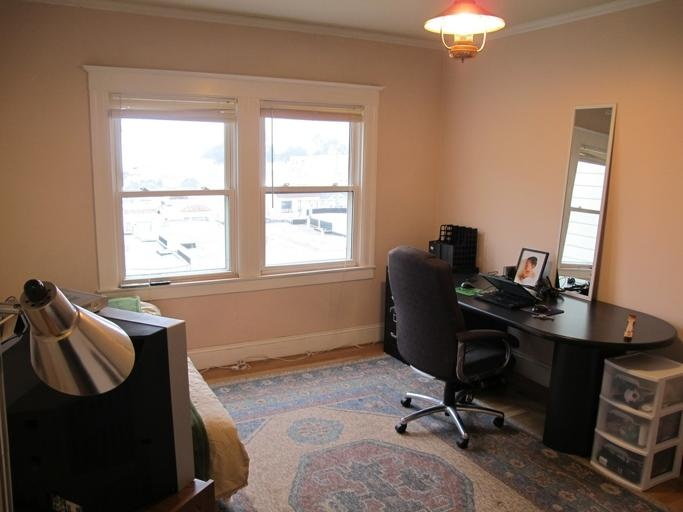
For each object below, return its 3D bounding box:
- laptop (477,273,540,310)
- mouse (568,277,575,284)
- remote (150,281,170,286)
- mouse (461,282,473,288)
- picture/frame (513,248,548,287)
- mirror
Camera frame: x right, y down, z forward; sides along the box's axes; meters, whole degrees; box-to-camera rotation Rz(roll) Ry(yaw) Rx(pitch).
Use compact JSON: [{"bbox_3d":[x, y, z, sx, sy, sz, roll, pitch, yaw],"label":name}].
[{"bbox_3d":[1.167,0.260,3.659,0.237,0.112,0.303,-6,15,-25],"label":"laptop"},{"bbox_3d":[1.681,0.173,3.802,0.038,0.039,0.012,5,-4,44],"label":"mouse"},{"bbox_3d":[-1.431,0.209,4.103,0.153,0.037,0.060,-3,11,-17],"label":"remote"},{"bbox_3d":[0.982,0.222,4.040,0.061,0.043,0.043,22,-5,-13],"label":"mouse"},{"bbox_3d":[1.420,0.088,3.862,0.031,0.310,0.233,15,3,-37],"label":"picture/frame"},{"bbox_3d":[1.743,-0.388,3.729,0.155,1.357,0.303,-8,13,-38],"label":"mirror"}]
